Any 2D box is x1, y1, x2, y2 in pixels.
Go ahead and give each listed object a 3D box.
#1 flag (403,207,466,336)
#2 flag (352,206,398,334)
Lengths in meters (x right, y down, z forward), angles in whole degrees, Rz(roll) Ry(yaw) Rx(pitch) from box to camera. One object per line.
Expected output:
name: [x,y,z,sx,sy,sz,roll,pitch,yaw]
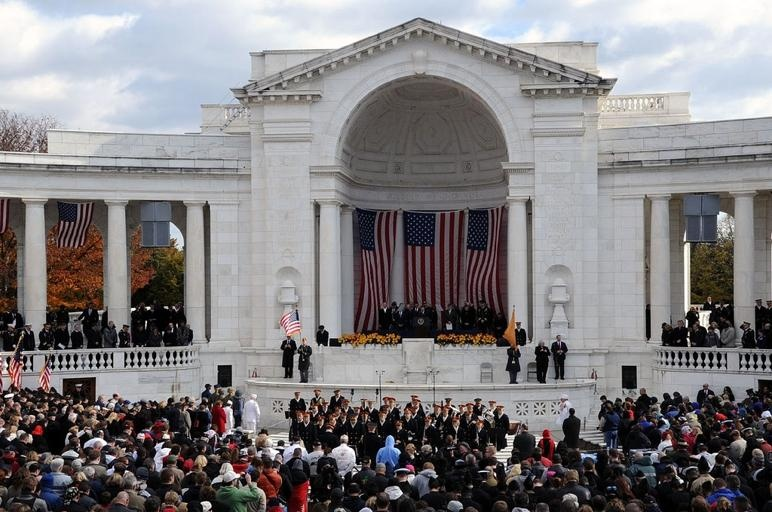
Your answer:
flag: [3.127,1.096,128.870,3.059,7.819,1.001,1,2,12]
flag: [-0.610,1.075,129.384,3.028,7.960,0.744,-1,2,-4]
